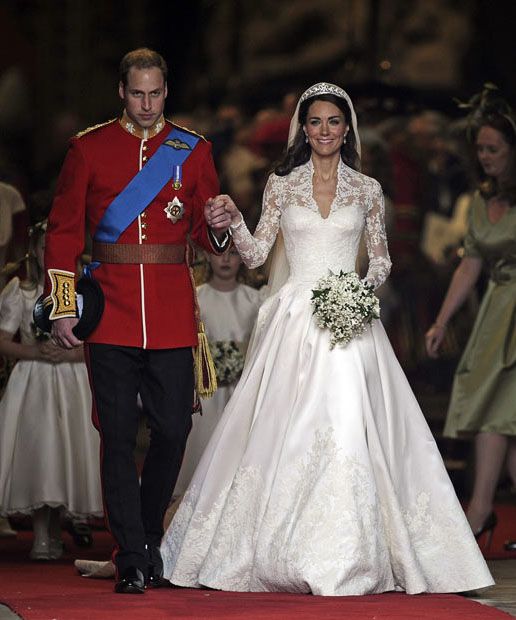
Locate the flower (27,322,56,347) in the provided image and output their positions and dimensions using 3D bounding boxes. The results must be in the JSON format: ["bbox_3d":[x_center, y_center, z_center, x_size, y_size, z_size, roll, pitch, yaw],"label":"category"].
[{"bbox_3d":[-0.947,0.110,3.740,0.035,0.100,0.080,-19,-2,20],"label":"flower"}]

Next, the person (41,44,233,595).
[{"bbox_3d":[-0.448,0.117,2.967,0.545,1.581,0.915,3,18,9],"label":"person"}]

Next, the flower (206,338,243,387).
[{"bbox_3d":[-0.184,0.284,4.632,0.209,0.221,0.131,4,-16,-27],"label":"flower"}]

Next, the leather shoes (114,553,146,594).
[{"bbox_3d":[-0.409,0.840,2.735,0.093,0.092,0.239,1,-15,-7],"label":"leather shoes"}]

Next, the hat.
[{"bbox_3d":[-0.617,0.006,2.873,0.168,0.193,0.302,9,18,27],"label":"hat"}]

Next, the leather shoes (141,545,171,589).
[{"bbox_3d":[-0.350,0.896,2.956,0.080,0.161,0.152,-2,17,-7],"label":"leather shoes"}]
